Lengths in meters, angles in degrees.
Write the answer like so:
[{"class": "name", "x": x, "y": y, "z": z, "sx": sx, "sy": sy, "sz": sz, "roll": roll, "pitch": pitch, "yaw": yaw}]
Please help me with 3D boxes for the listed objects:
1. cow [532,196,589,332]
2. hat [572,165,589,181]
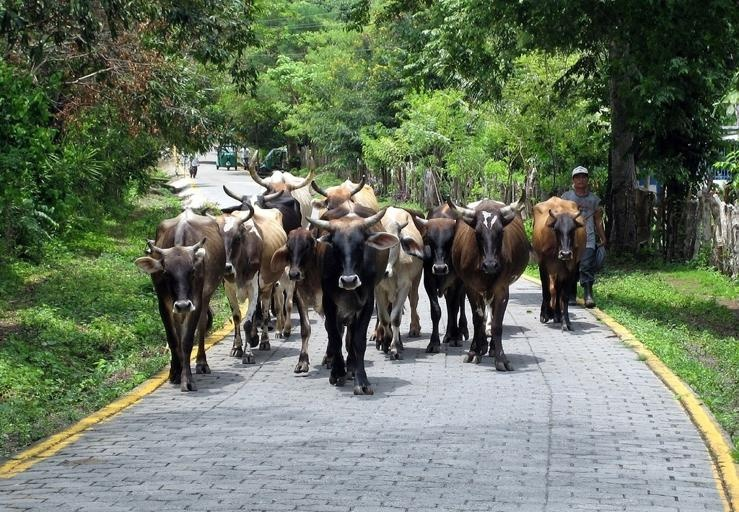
[{"class": "cow", "x": 3.791, "y": 0.104, "z": 14.164, "sx": 0.985, "sy": 2.476, "sz": 2.098, "roll": 1, "pitch": 7, "yaw": 13}, {"class": "hat", "x": 4.652, "y": -1.824, "z": 15.459, "sx": 0.299, "sy": 0.236, "sz": 0.214, "roll": 0, "pitch": 7, "yaw": 6}]
